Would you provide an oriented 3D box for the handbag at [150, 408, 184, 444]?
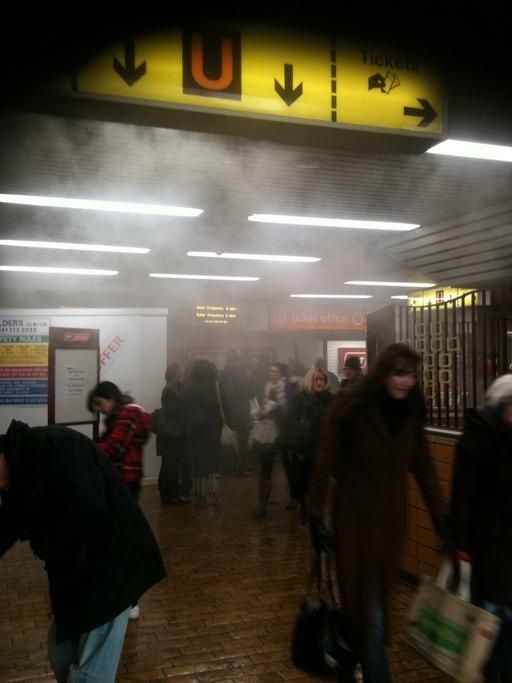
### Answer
[{"bbox_3d":[-1.135,1.064,7.297,0.511,0.658,0.330,0,-9,-4],"label":"handbag"}]
